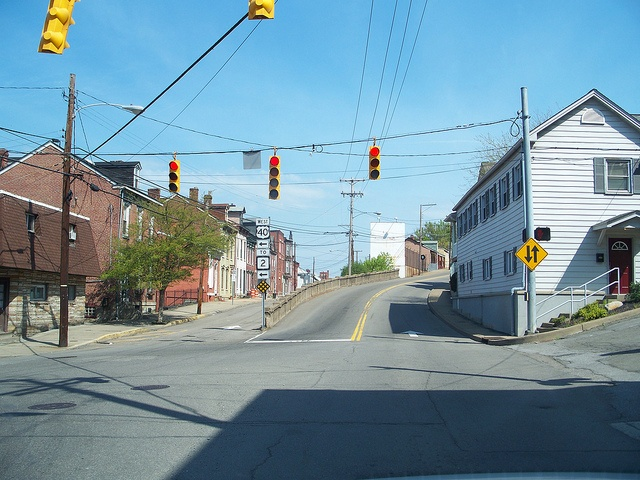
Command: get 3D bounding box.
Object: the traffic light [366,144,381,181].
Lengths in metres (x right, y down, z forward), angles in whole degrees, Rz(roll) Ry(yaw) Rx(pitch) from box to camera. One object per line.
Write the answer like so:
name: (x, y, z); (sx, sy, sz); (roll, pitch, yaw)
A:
traffic light: (1.959, -2.728, 24.544); (0.341, 1.175, 0.363); (-1, -6, -1)

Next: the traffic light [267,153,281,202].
traffic light: (-1.587, -2.196, 24.028); (0.317, 1.656, 0.674); (-1, -6, -6)

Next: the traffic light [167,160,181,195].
traffic light: (-5.276, -2.302, 24.828); (0.311, 1.171, 0.543); (1, -7, -20)
